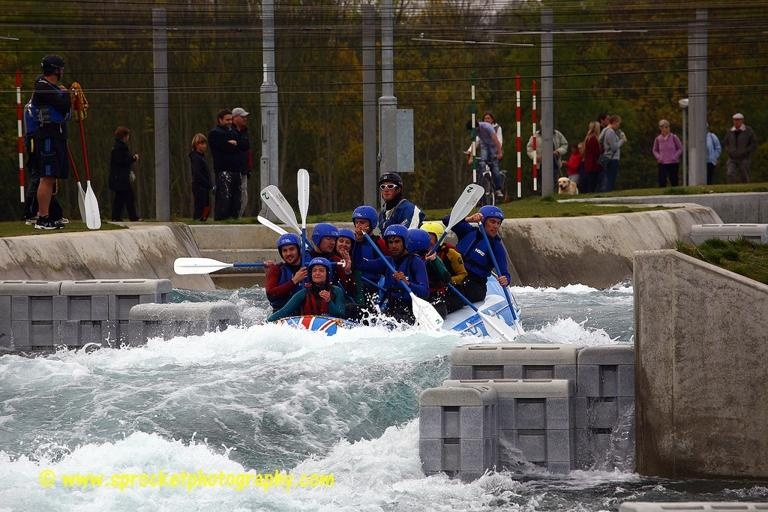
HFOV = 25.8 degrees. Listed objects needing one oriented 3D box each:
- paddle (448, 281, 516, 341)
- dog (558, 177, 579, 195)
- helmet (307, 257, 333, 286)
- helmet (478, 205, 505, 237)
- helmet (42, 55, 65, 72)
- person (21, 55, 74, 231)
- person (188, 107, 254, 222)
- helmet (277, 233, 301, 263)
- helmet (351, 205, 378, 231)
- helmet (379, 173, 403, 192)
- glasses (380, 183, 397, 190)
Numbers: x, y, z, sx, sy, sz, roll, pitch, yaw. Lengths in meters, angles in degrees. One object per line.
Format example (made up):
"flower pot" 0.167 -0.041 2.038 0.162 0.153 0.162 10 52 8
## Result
"paddle" 2.020 1.112 32.726 0.552 1.007 1.309 -5 4 -44
"dog" 4.662 -1.773 42.570 0.274 0.500 0.935 -3 2 15
"helmet" -1.217 0.281 31.603 0.361 0.536 0.439 1 1 7
"helmet" 2.158 -0.733 33.999 0.452 0.580 0.602 15 -1 -35
"helmet" -6.669 -3.863 33.703 0.414 0.355 0.297 -3 3 -16
"person" -6.829 -2.288 34.029 0.865 3.518 0.932 -3 3 -23
"person" -3.622 -2.148 39.232 0.912 2.582 1.095 -2 3 -4
"helmet" -1.896 -0.190 32.208 0.386 0.517 0.533 -21 16 16
"helmet" -0.420 -0.782 33.197 0.373 0.408 0.505 -8 -2 40
"helmet" 0.131 -1.485 33.753 0.308 0.423 0.312 0 42 7
"glasses" 0.079 -1.401 33.593 0.359 0.141 0.185 -2 3 7
